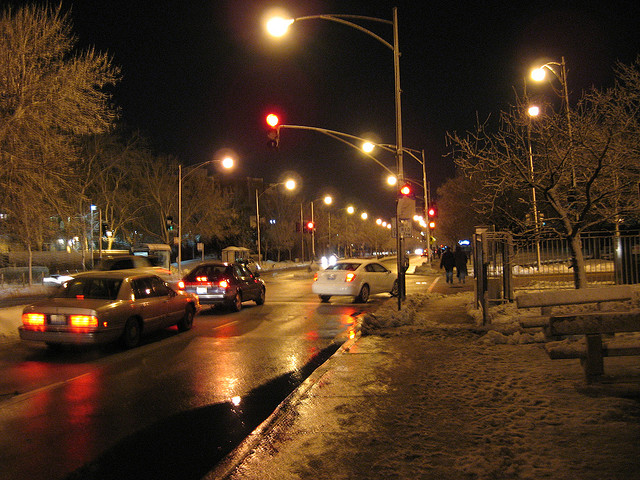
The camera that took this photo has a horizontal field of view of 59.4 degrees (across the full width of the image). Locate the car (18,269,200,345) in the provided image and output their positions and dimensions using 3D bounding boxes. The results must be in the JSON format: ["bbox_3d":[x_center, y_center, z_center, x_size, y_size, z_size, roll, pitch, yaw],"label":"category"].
[{"bbox_3d":[-4.615,1.500,13.390,1.472,1.108,3.430,1,2,17],"label":"car"}]

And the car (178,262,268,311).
[{"bbox_3d":[-3.075,1.535,19.549,1.353,0.945,2.700,-1,0,16],"label":"car"}]

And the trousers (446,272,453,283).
[{"bbox_3d":[7.067,2.039,30.318,0.247,0.540,0.521,-3,5,-1],"label":"trousers"}]

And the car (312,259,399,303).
[{"bbox_3d":[1.623,1.522,22.089,1.558,1.147,3.161,-1,1,34],"label":"car"}]

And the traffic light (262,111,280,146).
[{"bbox_3d":[-1.415,-3.425,17.617,0.503,0.954,0.349,11,38,7],"label":"traffic light"}]

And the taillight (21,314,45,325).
[{"bbox_3d":[-6.198,1.709,12.106,0.625,0.224,0.085,-1,5,26],"label":"taillight"}]

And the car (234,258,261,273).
[{"bbox_3d":[-4.837,1.660,37.488,2.001,1.087,1.176,-2,2,-39],"label":"car"}]

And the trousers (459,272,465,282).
[{"bbox_3d":[7.593,1.947,30.018,0.340,0.716,0.408,-1,3,9],"label":"trousers"}]
